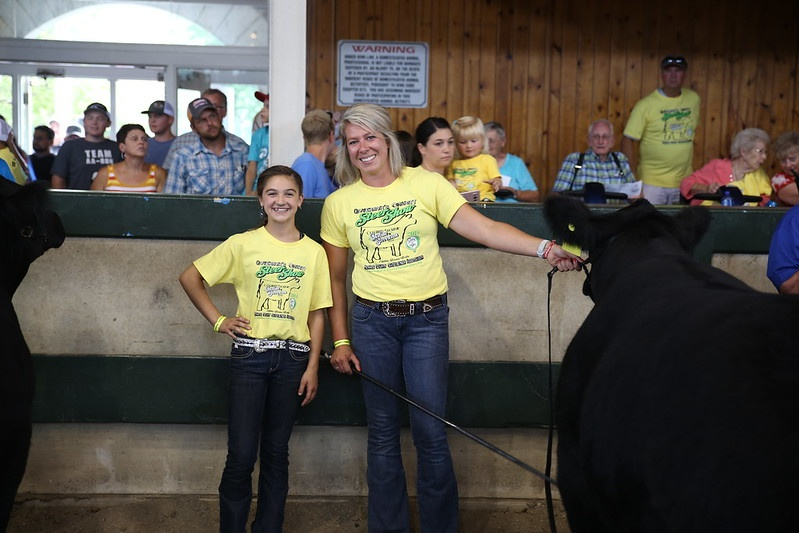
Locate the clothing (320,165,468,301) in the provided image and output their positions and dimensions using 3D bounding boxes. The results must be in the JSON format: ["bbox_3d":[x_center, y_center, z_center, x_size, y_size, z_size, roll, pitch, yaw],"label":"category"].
[{"bbox_3d":[-0.058,-0.186,4.558,0.763,0.661,0.265,-7,0,7],"label":"clothing"}]

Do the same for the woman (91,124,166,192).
[{"bbox_3d":[-2.295,-0.901,6.565,0.757,0.654,0.364,-4,6,-39],"label":"woman"}]

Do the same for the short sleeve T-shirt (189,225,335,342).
[{"bbox_3d":[-0.810,0.073,4.666,0.681,0.594,0.245,3,0,-1],"label":"short sleeve T-shirt"}]

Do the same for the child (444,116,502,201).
[{"bbox_3d":[0.529,-0.773,5.952,0.411,0.724,0.359,0,17,10],"label":"child"}]

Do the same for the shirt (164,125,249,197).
[{"bbox_3d":[-1.595,-0.846,6.409,0.798,0.679,0.273,-1,3,-27],"label":"shirt"}]

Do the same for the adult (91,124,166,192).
[{"bbox_3d":[-2.107,-0.830,6.141,0.706,0.604,0.317,-1,7,-34],"label":"adult"}]

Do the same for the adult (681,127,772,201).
[{"bbox_3d":[2.696,-0.827,6.436,0.692,0.578,1.003,6,18,24],"label":"adult"}]

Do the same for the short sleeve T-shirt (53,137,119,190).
[{"bbox_3d":[-2.834,-0.914,7.024,0.643,0.552,0.237,0,-5,-24],"label":"short sleeve T-shirt"}]

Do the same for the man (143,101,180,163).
[{"bbox_3d":[-2.293,-1.199,7.577,0.245,0.777,0.369,-10,9,-24],"label":"man"}]

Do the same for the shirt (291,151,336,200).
[{"bbox_3d":[-0.594,-0.574,5.377,0.229,0.358,0.486,-3,-7,13],"label":"shirt"}]

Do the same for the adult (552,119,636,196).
[{"bbox_3d":[1.805,-0.935,7.194,0.757,0.795,0.427,0,1,8],"label":"adult"}]

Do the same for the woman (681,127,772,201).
[{"bbox_3d":[2.698,-0.829,6.443,0.692,0.578,0.991,6,18,24],"label":"woman"}]
